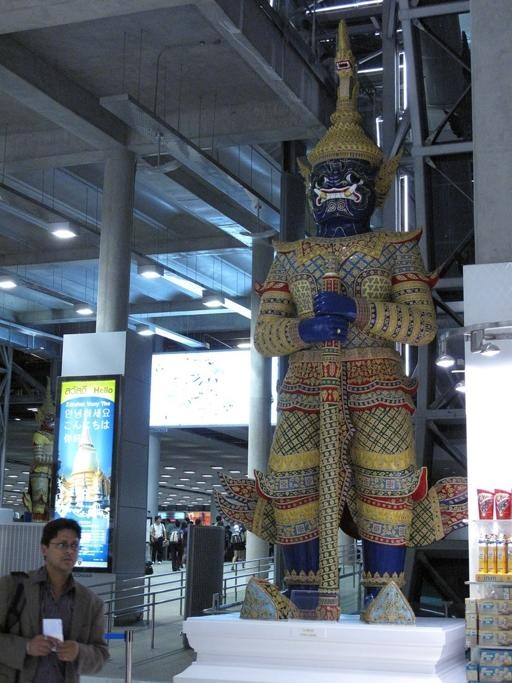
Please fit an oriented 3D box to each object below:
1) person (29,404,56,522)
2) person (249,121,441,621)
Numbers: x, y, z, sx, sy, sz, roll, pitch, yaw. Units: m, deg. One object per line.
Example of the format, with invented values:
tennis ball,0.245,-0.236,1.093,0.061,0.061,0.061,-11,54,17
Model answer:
person,-3.836,2.170,13.787,0.431,2.113,1.018,1,-9,-16
person,0.530,0.065,4.549,1.103,2.930,0.715,-2,-9,1
